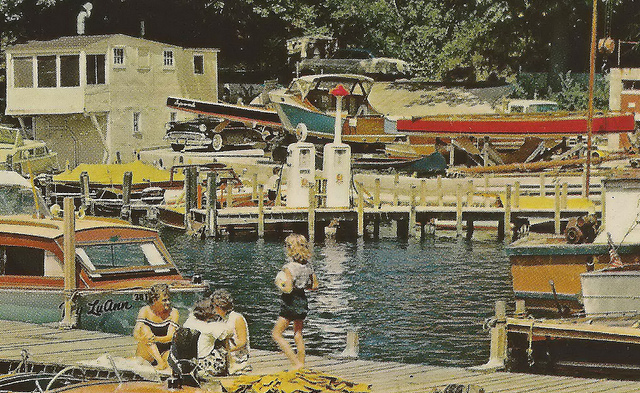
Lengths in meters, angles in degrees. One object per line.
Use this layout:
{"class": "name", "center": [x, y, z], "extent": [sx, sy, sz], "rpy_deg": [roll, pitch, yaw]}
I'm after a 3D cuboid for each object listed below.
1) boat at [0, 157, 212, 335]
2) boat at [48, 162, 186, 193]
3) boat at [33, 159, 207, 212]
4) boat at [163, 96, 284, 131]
{"class": "boat", "center": [-7.464, 3.140, 63.016], "extent": [11.630, 5.199, 3.889], "rpy_deg": [3, 6, 14]}
{"class": "boat", "center": [-11.229, -1.070, 81.265], "extent": [7.092, 1.671, 3.514], "rpy_deg": [0, 2, -12]}
{"class": "boat", "center": [-11.819, -0.856, 81.442], "extent": [6.766, 2.123, 3.845], "rpy_deg": [-2, 5, -14]}
{"class": "boat", "center": [-6.097, -5.143, 91.982], "extent": [8.172, 0.762, 1.701], "rpy_deg": [9, 0, 3]}
